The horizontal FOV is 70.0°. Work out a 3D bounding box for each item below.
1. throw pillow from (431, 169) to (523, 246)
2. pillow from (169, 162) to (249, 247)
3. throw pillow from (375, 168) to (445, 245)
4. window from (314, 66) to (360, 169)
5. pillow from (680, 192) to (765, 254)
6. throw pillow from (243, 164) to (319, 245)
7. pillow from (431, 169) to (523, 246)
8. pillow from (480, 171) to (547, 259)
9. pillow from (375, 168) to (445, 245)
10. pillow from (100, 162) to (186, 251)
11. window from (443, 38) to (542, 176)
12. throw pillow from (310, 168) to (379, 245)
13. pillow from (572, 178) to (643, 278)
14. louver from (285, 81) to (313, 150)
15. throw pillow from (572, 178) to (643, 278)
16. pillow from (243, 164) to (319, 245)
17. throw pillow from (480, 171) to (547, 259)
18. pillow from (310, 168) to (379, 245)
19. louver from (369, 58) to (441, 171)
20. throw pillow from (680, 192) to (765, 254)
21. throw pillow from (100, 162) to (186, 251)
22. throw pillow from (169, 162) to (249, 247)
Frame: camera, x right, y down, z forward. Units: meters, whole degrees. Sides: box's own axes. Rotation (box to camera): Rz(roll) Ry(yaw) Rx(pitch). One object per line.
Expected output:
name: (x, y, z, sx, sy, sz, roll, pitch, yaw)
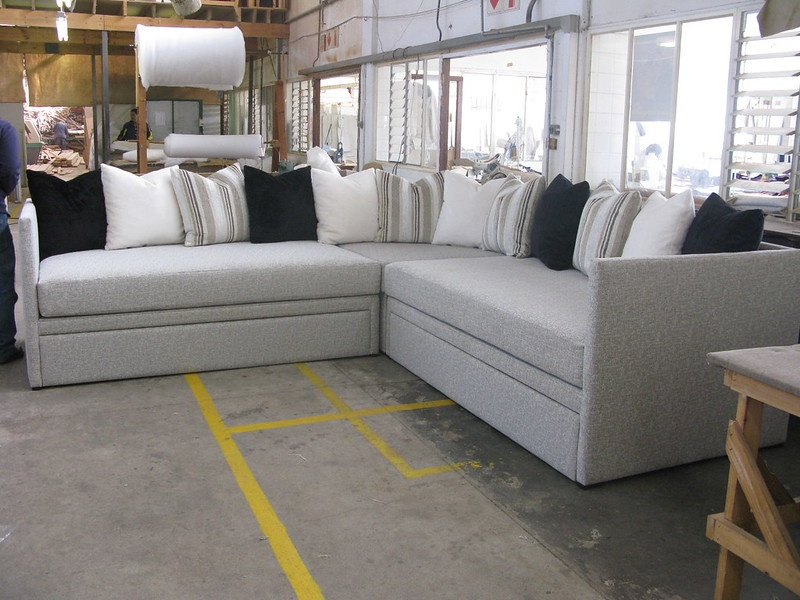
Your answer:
throw pillow: (0.581, -0.659, 4.321, 0.590, 0.577, 0.229, 10, 23, 5)
pillow: (-1.321, -0.636, 3.951, 0.272, 0.494, 0.577, 25, 31, 37)
throw pillow: (0.072, -0.687, 4.357, 0.647, 0.642, 0.229, 2, 1, -9)
window: (-1.467, -4.214, 13.246, 0.500, 2.133, 2.148, 1, 8, -36)
pillow: (1.503, -0.324, 2.639, 0.294, 0.287, 0.461, 5, 17, 17)
throw pillow: (-0.847, -0.654, 4.086, 0.571, 0.538, 0.169, -1, -1, -20)
pillow: (0.544, -0.650, 4.167, 0.575, 0.572, 0.216, 12, -8, 27)
pillow: (0.768, -0.550, 3.887, 0.227, 0.498, 0.592, -6, 12, -16)
pillow: (0.080, -0.700, 4.447, 0.595, 0.586, 0.218, 0, 4, -13)
pillow: (-1.701, -0.588, 3.769, 0.520, 0.453, 0.254, -9, 27, -41)
window: (2.187, -4.551, 14.281, 2.393, 2.273, 1.811, 0, 16, -4)
throw pillow: (-0.422, -0.667, 4.207, 0.541, 0.535, 0.186, -8, 9, -29)
pillow: (1.223, -0.407, 3.419, 0.237, 0.547, 0.629, 1, 15, 6)
louver: (-2.180, -3.937, 12.270, 0.385, 1.463, 1.538, -6, 18, -19)
throw pillow: (1.206, -0.402, 3.369, 0.233, 0.520, 0.607, 3, 14, -2)
pillow: (-0.840, -0.681, 4.181, 0.587, 0.571, 0.164, 1, 27, 28)
throw pillow: (0.768, -0.550, 3.887, 0.227, 0.498, 0.592, -6, 12, -16)
pillow: (-0.422, -0.667, 4.207, 0.541, 0.535, 0.186, -8, 9, -29)
louver: (0.099, -2.860, 8.647, 0.059, 1.455, 1.722, -7, 23, -22)
throw pillow: (1.503, -0.324, 2.639, 0.294, 0.287, 0.461, 5, 17, 17)
throw pillow: (-1.701, -0.588, 3.769, 0.520, 0.453, 0.254, -9, 27, -41)
throw pillow: (-1.321, -0.636, 3.951, 0.272, 0.494, 0.577, 25, 31, 37)
